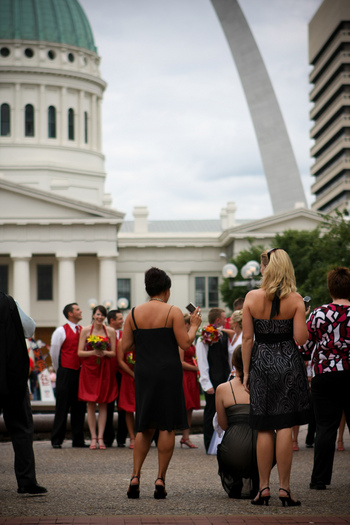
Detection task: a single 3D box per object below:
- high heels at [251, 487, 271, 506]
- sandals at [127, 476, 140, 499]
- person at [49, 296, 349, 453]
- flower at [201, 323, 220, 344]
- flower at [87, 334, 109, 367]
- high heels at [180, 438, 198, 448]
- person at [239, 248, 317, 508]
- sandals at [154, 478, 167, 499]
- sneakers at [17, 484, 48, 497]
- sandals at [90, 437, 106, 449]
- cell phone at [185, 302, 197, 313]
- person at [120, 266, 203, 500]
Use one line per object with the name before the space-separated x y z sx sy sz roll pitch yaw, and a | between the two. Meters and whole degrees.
high heels | 0.617 1.686 6.630 0.136 0.149 0.172 -3 -2 2
sandals | -0.328 1.697 6.926 0.073 0.175 0.064 0 2 -2
person | 0.166 1.119 8.772 2.426 1.375 0.347 -1 -3 -5
flower | 0.430 0.898 11.372 0.238 0.237 0.273 -2 -2 -28
flower | -0.916 1.053 11.034 0.320 0.340 0.319 -2 16 21
high heels | 0.159 2.339 11.823 0.260 0.123 0.086 1 -4 18
person | 0.781 0.844 6.865 0.563 1.843 0.499 1 -3 -14
sandals | -0.111 1.698 6.899 0.063 0.198 0.078 -3 24 -1
sneakers | -1.096 1.741 7.035 0.256 0.104 0.092 -1 10 -1
sandals | -0.959 2.239 11.324 0.151 0.090 0.379 0 -9 -4
cell phone | 0.155 0.423 8.362 0.100 0.098 0.029 14 5 -45
person | -0.114 0.920 7.134 0.572 1.717 0.504 -4 -12 17
